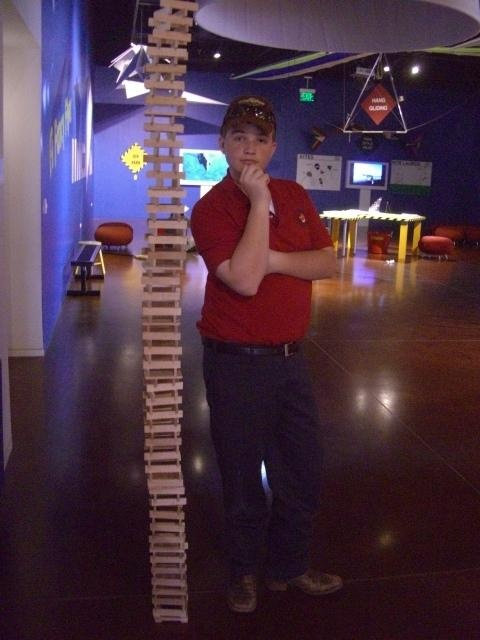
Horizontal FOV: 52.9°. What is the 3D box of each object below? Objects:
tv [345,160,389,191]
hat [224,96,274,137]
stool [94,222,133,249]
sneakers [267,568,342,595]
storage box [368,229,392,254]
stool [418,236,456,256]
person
[{"bbox_3d":[4.019,-4.652,15.439,0.917,0.677,0.096,1,4,-9],"label":"tv"},{"bbox_3d":[0.020,-0.474,1.128,0.127,0.101,0.160,2,7,1],"label":"hat"},{"bbox_3d":[-2.721,-1.852,10.377,0.655,0.357,0.688,0,21,-6],"label":"stool"},{"bbox_3d":[0.216,0.829,1.546,0.206,0.094,0.092,-2,6,-2],"label":"sneakers"},{"bbox_3d":[3.403,-1.836,11.760,0.556,0.595,0.546,3,-3,9],"label":"storage box"},{"bbox_3d":[4.459,-1.705,11.075,0.569,0.417,0.575,-1,11,-15],"label":"stool"},{"bbox_3d":[0.056,0.177,1.291,0.318,1.419,0.526,5,7,25],"label":"person"}]
